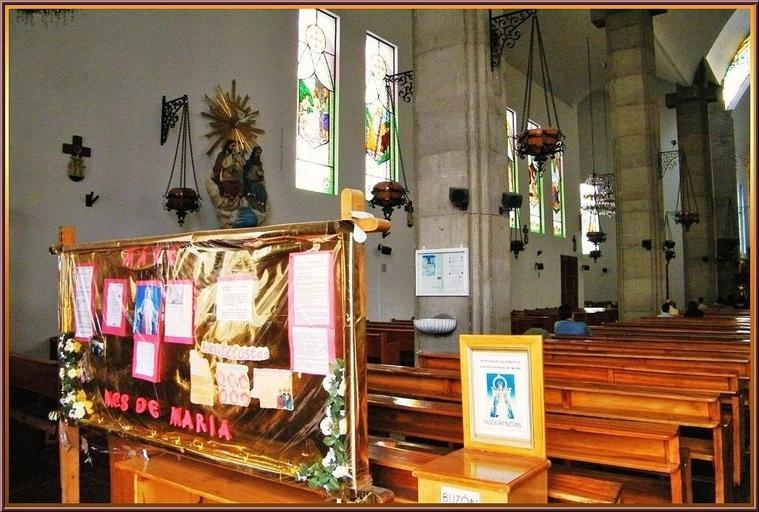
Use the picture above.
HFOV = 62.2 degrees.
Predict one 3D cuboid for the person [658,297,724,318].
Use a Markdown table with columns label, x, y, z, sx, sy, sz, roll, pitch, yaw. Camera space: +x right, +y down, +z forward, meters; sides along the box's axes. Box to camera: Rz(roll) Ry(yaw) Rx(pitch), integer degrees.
| label | x | y | z | sx | sy | sz | roll | pitch | yaw |
| --- | --- | --- | --- | --- | --- | --- | --- | --- | --- |
| person | 6.796 | 1.110 | 13.648 | 0.698 | 0.443 | 0.243 | -10 | -36 | 36 |

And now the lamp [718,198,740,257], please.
| label | x | y | z | sx | sy | sz | roll | pitch | yaw |
| --- | --- | --- | --- | --- | --- | --- | --- | --- | --- |
| lamp | 10.962 | -0.863 | 19.859 | 0.642 | 1.967 | 2.673 | 0 | 0 | 29 |

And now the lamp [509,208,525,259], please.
| label | x | y | z | sx | sy | sz | roll | pitch | yaw |
| --- | --- | --- | --- | --- | --- | --- | --- | --- | --- |
| lamp | 3.697 | -0.671 | 16.740 | 0.402 | 1.393 | 3.050 | -1 | 0 | 12 |

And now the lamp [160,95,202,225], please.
| label | x | y | z | sx | sy | sz | roll | pitch | yaw |
| --- | --- | --- | --- | --- | --- | --- | --- | --- | --- |
| lamp | -3.200 | -1.575 | 10.189 | 0.619 | 2.122 | 1.005 | -1 | 1 | -17 |
